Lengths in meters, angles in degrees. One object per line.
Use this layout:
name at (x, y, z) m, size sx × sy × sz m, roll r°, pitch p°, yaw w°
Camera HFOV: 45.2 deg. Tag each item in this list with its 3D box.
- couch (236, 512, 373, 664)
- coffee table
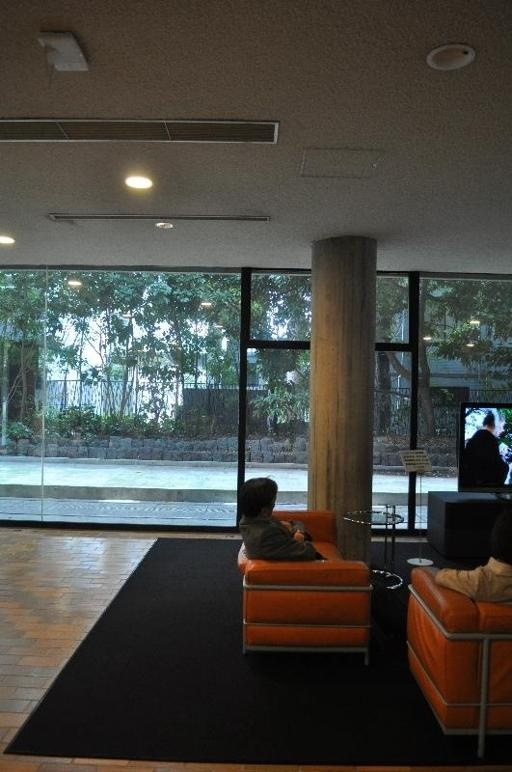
couch at (0.259, 1.181, 3.957) m, size 0.737 × 0.510 × 1.304 m, roll 0°, pitch 4°, yaw -4°
coffee table at (0.965, 1.307, 5.107) m, size 0.479 × 0.548 × 0.480 m, roll 8°, pitch -8°, yaw -39°
